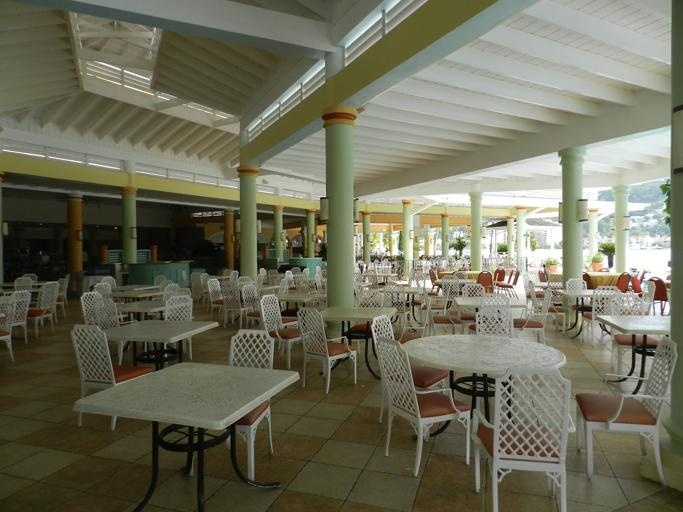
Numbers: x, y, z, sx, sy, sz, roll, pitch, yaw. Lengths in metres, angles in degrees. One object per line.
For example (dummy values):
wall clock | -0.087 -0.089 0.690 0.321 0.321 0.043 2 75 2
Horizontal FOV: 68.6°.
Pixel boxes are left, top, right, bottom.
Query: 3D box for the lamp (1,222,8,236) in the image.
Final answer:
lamp | -9.836 -0.835 14.621 0.099 0.299 2.576 -3 2 -32

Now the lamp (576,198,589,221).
lamp | 5.078 -0.977 10.513 0.191 0.477 0.445 -1 1 22

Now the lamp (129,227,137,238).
lamp | -6.834 -0.772 16.422 0.133 0.346 0.160 -1 1 13

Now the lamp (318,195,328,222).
lamp | -0.291 -0.795 8.428 0.153 0.415 0.313 -2 1 -7

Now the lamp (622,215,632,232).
lamp | 8.503 -0.984 14.866 0.145 0.452 0.439 -1 1 39

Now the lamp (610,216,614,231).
lamp | 8.442 -1.023 15.544 0.125 0.404 0.881 -1 1 27

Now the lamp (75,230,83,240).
lamp | -8.793 -0.736 16.824 0.171 0.239 0.408 -2 1 -28
